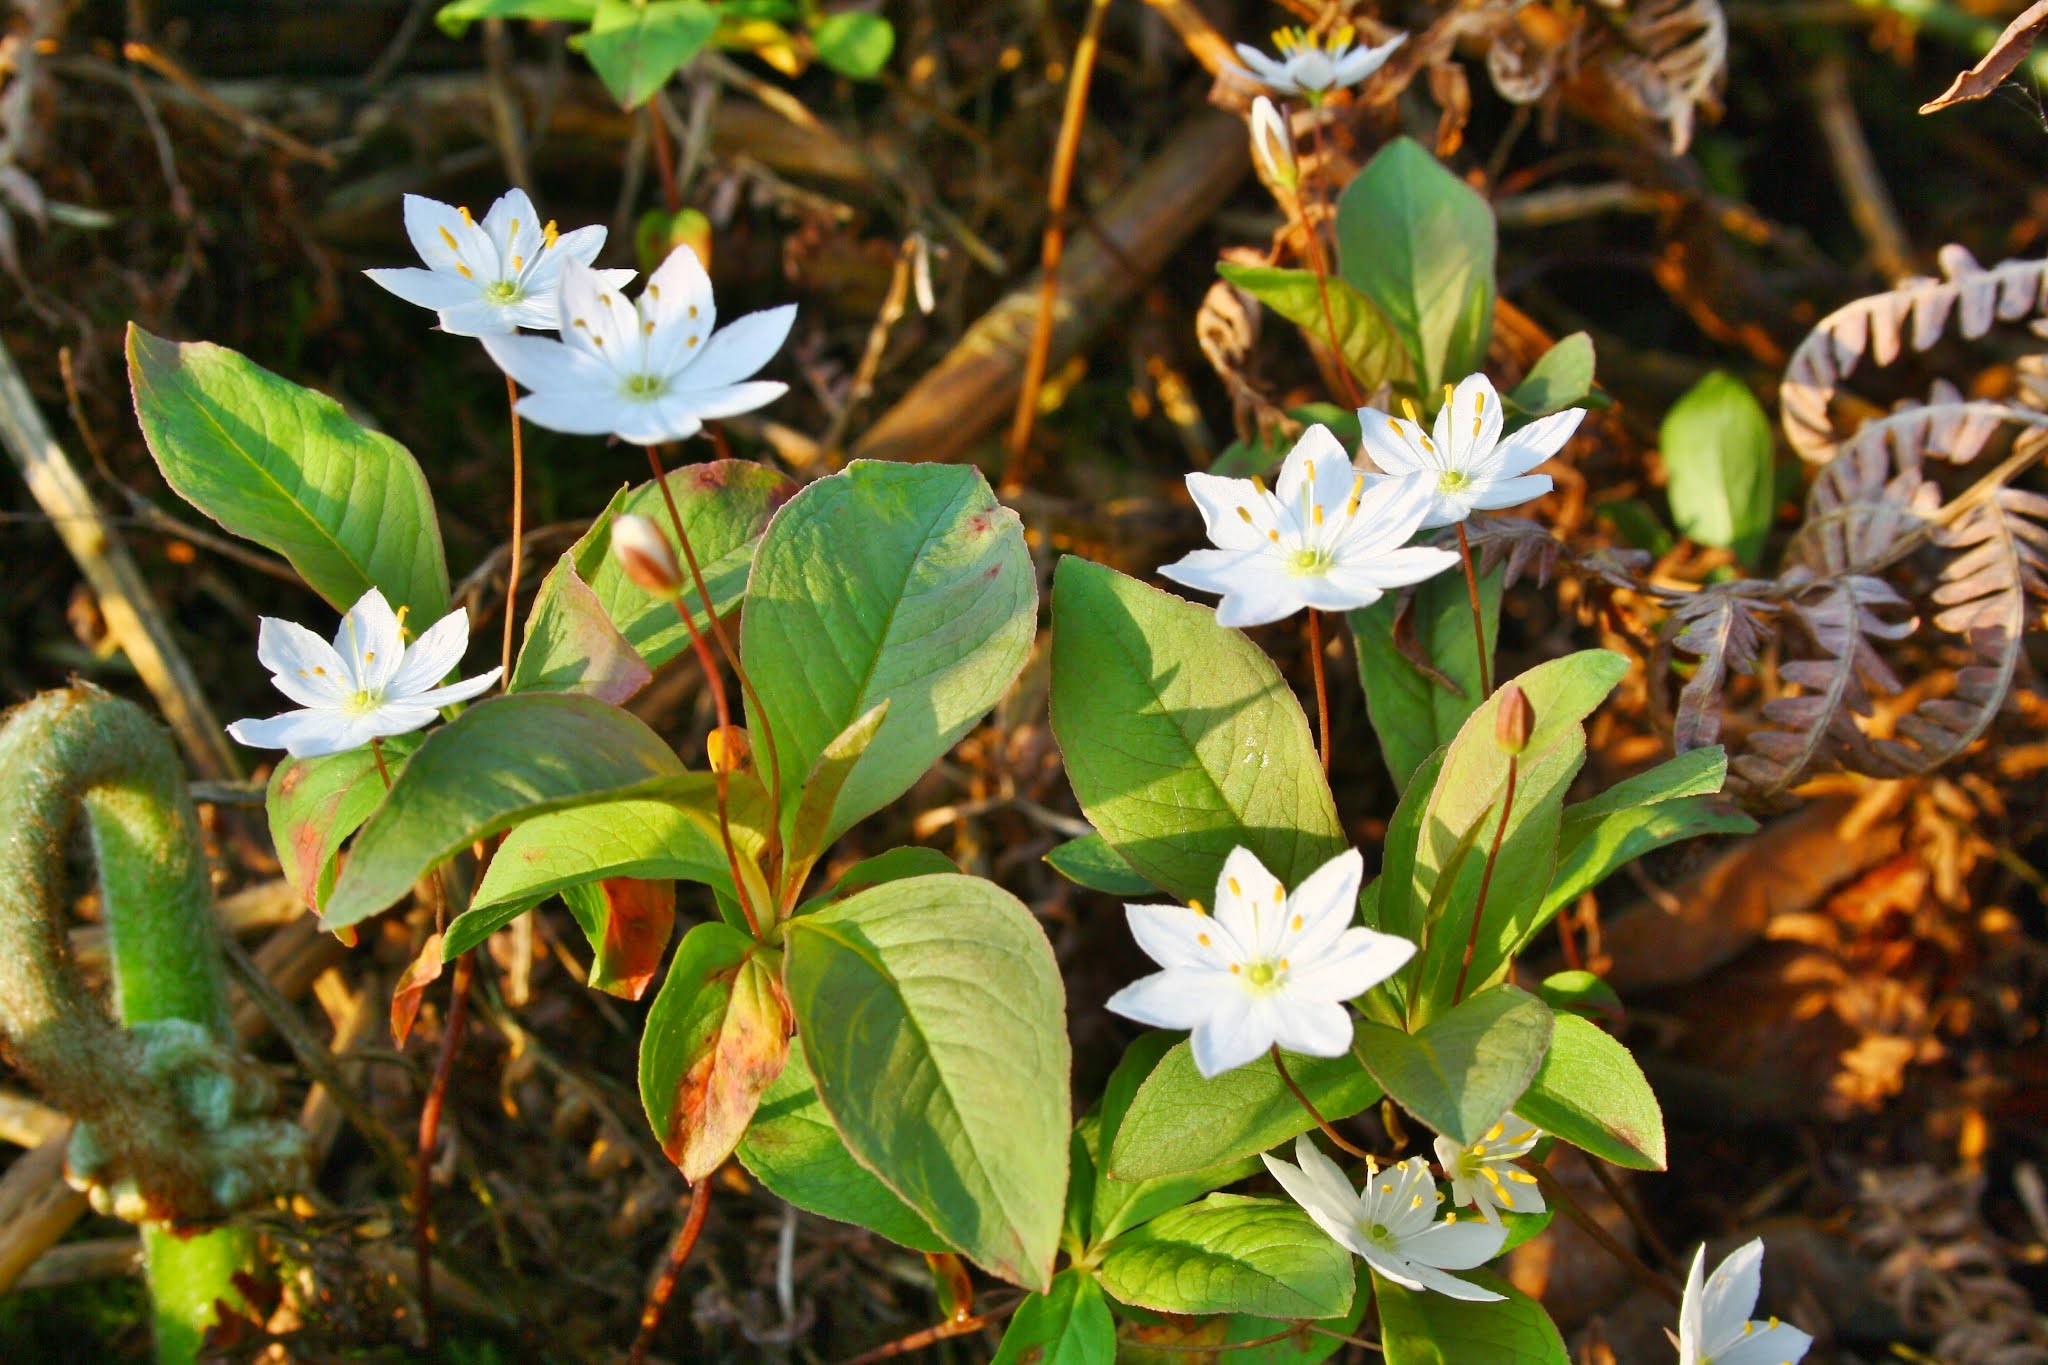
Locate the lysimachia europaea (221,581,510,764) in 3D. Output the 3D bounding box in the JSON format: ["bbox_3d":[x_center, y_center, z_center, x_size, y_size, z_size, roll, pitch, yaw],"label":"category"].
[{"bbox_3d":[-1.107,-0.030,3.708,0.427,0.270,0.323,-12,61,-16],"label":"lysimachia europaea"}]

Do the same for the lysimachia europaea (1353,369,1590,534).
[{"bbox_3d":[0.751,-0.395,3.815,0.289,0.121,0.298,-36,60,-24],"label":"lysimachia europaea"}]

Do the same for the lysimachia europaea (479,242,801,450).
[{"bbox_3d":[-0.613,-0.514,3.575,0.338,0.136,0.385,8,58,5],"label":"lysimachia europaea"}]
